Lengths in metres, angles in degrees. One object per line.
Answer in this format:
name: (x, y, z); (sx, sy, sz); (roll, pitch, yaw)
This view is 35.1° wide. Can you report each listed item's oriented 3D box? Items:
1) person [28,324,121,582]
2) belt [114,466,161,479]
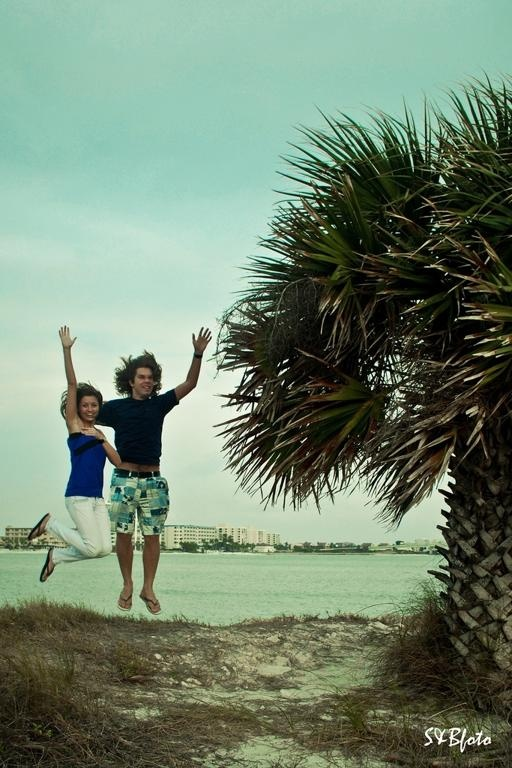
person: (-1.814, 0.723, 8.417); (0.837, 2.661, 0.542); (6, -6, -12)
belt: (-1.263, 0.945, 8.617); (0.470, 0.108, 0.109); (5, -6, -21)
